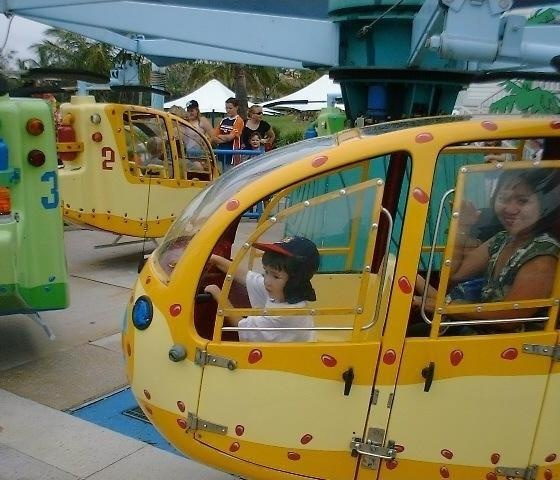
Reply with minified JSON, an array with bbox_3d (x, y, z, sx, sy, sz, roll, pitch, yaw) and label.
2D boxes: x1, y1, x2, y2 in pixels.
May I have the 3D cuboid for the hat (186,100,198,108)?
[{"bbox_3d":[-1.264,-1.994,8.831,0.123,0.096,0.173,6,10,23],"label":"hat"}]

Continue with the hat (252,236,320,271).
[{"bbox_3d":[0.031,0.075,2.594,0.220,0.088,0.155,19,-1,-2],"label":"hat"}]
